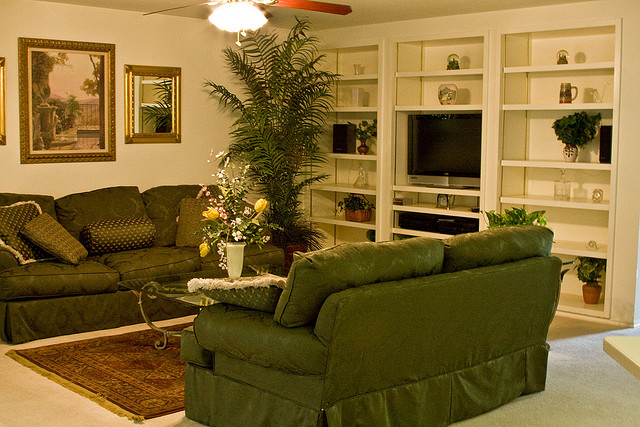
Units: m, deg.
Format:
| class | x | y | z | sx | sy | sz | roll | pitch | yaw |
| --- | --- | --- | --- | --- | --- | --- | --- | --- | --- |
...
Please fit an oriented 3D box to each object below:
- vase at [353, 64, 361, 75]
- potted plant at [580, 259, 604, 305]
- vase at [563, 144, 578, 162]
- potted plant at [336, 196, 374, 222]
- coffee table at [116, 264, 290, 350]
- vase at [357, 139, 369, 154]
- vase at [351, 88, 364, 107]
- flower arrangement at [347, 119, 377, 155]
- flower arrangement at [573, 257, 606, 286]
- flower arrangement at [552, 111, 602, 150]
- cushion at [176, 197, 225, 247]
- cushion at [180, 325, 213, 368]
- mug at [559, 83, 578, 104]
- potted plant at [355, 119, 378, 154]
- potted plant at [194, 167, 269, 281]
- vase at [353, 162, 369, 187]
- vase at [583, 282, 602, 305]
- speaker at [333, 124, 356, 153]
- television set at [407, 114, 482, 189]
| class | x | y | z | sx | sy | sz | roll | pitch | yaw |
| --- | --- | --- | --- | --- | --- | --- | --- | --- | --- |
| vase | 0.549 | -2.111 | 6.973 | 0.091 | 0.165 | 0.169 | 0 | 9 | -2 |
| potted plant | 3.161 | 0.769 | 5.476 | 0.331 | 0.517 | 0.139 | -2 | 10 | -20 |
| vase | 2.856 | -0.682 | 5.420 | 0.188 | 0.227 | 0.192 | 0 | 2 | 28 |
| potted plant | 0.512 | -0.066 | 6.957 | 0.370 | 0.264 | 0.382 | -1 | -2 | 43 |
| coffee table | -1.205 | 0.625 | 4.219 | 0.909 | 0.447 | 1.242 | 1 | 2 | 39 |
| vase | 0.642 | -0.974 | 7.025 | 0.179 | 0.221 | 0.188 | 4 | -3 | -33 |
| vase | 0.559 | -1.713 | 7.056 | 0.182 | 0.280 | 0.347 | 2 | 9 | 5 |
| flower arrangement | 0.693 | -1.104 | 7.104 | 0.433 | 0.588 | 0.461 | -1 | -4 | 40 |
| flower arrangement | 3.111 | 0.729 | 5.492 | 0.274 | 0.272 | 0.245 | 21 | -12 | -40 |
| flower arrangement | 2.845 | -1.025 | 5.493 | 0.401 | 0.326 | 0.417 | 5 | 16 | -2 |
| cushion | -1.487 | 0.104 | 5.963 | 0.657 | 0.656 | 0.204 | 1 | -10 | 17 |
| cushion | -0.855 | 0.906 | 3.206 | 0.242 | 0.206 | 0.235 | -3 | 6 | -44 |
| mug | 2.867 | -1.376 | 5.487 | 0.145 | 0.241 | 0.378 | 7 | 11 | 35 |
| potted plant | 0.677 | -1.155 | 7.097 | 0.246 | 0.513 | 0.480 | -1 | 9 | -9 |
| potted plant | -0.803 | 0.142 | 4.288 | 0.606 | 0.873 | 0.571 | -4 | 3 | -11 |
| vase | 0.724 | -0.586 | 7.189 | 0.289 | 0.389 | 0.295 | 4 | 6 | 40 |
| vase | 3.117 | 0.901 | 5.452 | 0.236 | 0.255 | 0.233 | 0 | -2 | 5 |
| speaker | 0.370 | -1.149 | 7.246 | 0.376 | 0.397 | 0.364 | -2 | 9 | -17 |
| television set | 1.700 | -0.823 | 6.338 | 0.135 | 0.977 | 1.161 | -13 | 15 | -43 |
